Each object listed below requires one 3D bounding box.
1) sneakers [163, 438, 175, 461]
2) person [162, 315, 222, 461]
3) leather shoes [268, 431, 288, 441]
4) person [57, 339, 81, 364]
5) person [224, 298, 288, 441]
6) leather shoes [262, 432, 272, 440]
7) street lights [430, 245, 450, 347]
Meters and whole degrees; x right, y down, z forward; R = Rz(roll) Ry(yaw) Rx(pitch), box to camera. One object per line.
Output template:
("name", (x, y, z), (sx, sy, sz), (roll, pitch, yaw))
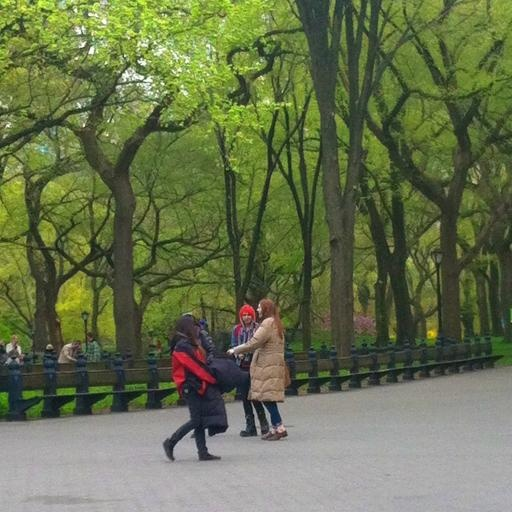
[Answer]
("sneakers", (-1.300, 2.907, 17.147), (0.159, 0.377, 0.135), (-6, -10, -16))
("person", (-0.997, 2.013, 17.252), (0.823, 2.224, 0.450), (-4, -6, -3))
("leather shoes", (0.342, 2.992, 18.859), (0.386, 0.173, 0.135), (0, -1, -2))
("person", (-4.649, 2.423, 28.688), (0.474, 0.542, 0.891), (-5, -7, 5))
("person", (0.155, 1.891, 18.839), (0.973, 2.341, 0.658), (-2, -7, -18))
("leather shoes", (0.205, 3.016, 18.989), (0.216, 0.159, 0.075), (-2, -18, 15))
("street lights", (8.125, 1.867, 50.629), (0.750, 4.167, 0.687), (-3, 5, 11))
